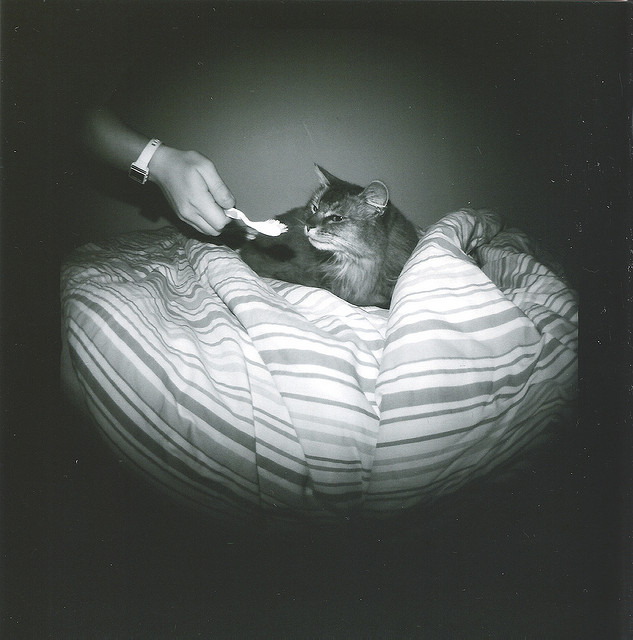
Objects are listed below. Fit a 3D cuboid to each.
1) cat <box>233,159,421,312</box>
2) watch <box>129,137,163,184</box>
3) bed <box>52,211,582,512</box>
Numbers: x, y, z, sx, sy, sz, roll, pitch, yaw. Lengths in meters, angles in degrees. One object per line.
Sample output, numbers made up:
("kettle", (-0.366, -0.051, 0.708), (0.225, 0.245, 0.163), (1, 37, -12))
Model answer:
("cat", (0.048, -0.149, 1.812), (0.329, 0.245, 0.291), (10, 45, 13))
("watch", (-0.320, -0.300, 1.627), (0.029, 0.055, 0.059), (30, 72, 0))
("bed", (-0.006, 0.054, 1.630), (0.980, 0.526, 0.438), (3, 30, -14))
